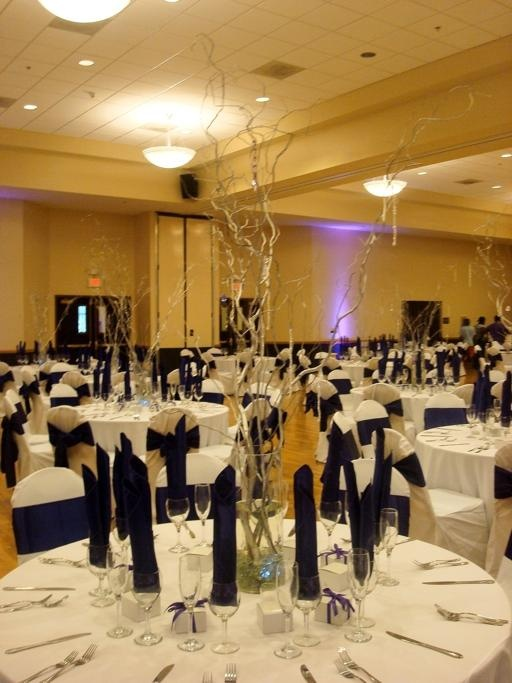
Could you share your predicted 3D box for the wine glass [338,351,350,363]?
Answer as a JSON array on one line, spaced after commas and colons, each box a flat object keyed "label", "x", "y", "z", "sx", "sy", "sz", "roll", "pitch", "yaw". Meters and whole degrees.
[{"label": "wine glass", "x": 2.011, "y": 0.351, "z": 11.933, "sx": 0.166, "sy": 0.232, "sz": 0.084, "roll": -1, "pitch": -10, "yaw": 9}]
